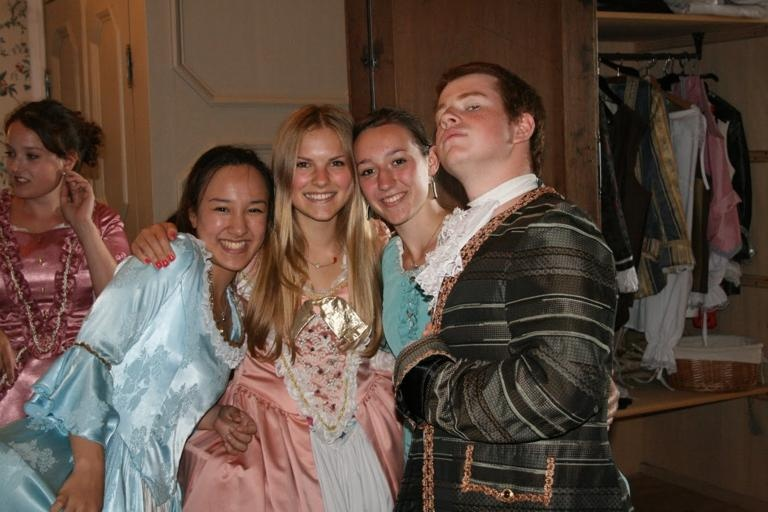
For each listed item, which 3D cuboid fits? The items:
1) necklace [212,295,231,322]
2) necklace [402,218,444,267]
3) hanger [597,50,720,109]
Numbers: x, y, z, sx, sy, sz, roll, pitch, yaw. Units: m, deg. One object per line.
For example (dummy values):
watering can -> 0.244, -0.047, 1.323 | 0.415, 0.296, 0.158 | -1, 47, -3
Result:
necklace -> -0.646, 0.212, 2.887 | 0.054, 0.078, 0.031 | -18, -21, 23
necklace -> 0.179, -0.049, 3.078 | 0.154, 0.217, 0.077 | 9, -15, 42
hanger -> 1.903, -1.176, 4.970 | 1.175, 0.465, 0.352 | -5, 7, -19
